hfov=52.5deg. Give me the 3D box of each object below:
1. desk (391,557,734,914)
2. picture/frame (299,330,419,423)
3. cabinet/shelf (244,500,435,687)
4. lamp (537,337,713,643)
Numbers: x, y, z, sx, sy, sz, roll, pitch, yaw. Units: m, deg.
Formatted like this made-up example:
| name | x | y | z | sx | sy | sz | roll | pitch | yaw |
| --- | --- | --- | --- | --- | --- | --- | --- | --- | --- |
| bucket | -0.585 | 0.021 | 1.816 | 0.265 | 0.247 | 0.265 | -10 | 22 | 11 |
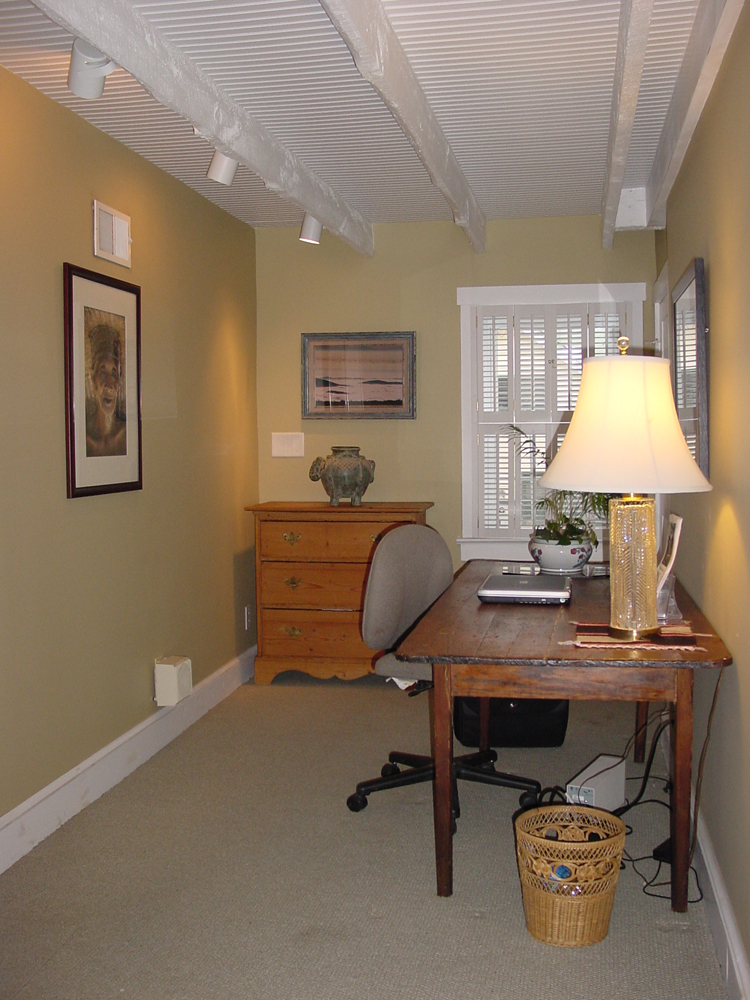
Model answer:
| name | x | y | z | sx | sy | sz | roll | pitch | yaw |
| --- | --- | --- | --- | --- | --- | --- | --- | --- | --- |
| desk | 0.557 | 0.647 | 2.296 | 0.716 | 0.709 | 1.367 | -1 | 3 | 14 |
| picture/frame | -0.060 | -0.709 | 4.317 | 0.487 | 0.408 | 0.022 | 0 | 1 | 6 |
| cabinet/shelf | -0.174 | 0.417 | 3.435 | 0.880 | 0.996 | 0.442 | 0 | 3 | 10 |
| lamp | 0.566 | -0.032 | 1.747 | 0.351 | 0.610 | 0.361 | -1 | 0 | 16 |
